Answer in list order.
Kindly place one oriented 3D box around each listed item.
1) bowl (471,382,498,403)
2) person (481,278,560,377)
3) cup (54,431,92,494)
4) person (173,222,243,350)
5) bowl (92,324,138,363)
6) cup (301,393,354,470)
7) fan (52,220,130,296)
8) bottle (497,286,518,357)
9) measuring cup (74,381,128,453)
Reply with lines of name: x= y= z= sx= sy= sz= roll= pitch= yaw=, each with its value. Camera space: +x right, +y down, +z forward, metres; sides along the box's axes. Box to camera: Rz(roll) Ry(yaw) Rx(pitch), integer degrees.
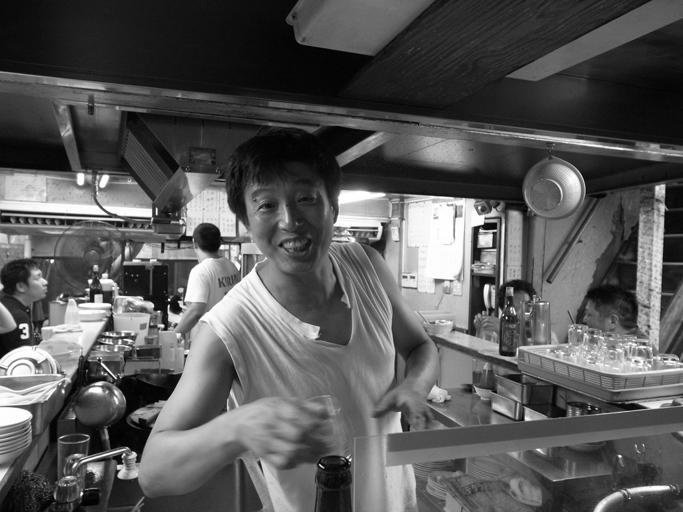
bowl: x=0.781 y=0.750 z=3.127 sx=0.132 sy=0.072 sz=0.174 roll=4 pitch=0 yaw=4
person: x=1.204 y=0.393 z=4.254 sx=0.464 sy=0.881 sz=0.523 roll=5 pitch=2 yaw=-15
cup: x=-1.056 y=0.804 z=2.264 sx=0.109 sy=0.223 sz=0.161 roll=2 pitch=3 yaw=-14
person: x=-1.056 y=0.182 z=4.493 sx=0.460 sy=1.254 sz=0.521 roll=6 pitch=0 yaw=-24
bowl: x=-1.546 y=0.604 z=3.962 sx=0.214 sy=0.110 sz=0.269 roll=4 pitch=-2 yaw=-4
cup: x=-0.035 y=0.430 z=1.401 sx=0.079 sy=0.139 sz=0.131 roll=3 pitch=2 yaw=-4
fan: x=-1.809 y=0.004 z=4.253 sx=0.233 sy=0.507 sz=0.538 roll=2 pitch=1 yaw=15
bottle: x=0.994 y=0.386 z=3.413 sx=0.112 sy=0.384 sz=0.221 roll=2 pitch=1 yaw=17
measuring cup: x=-1.057 y=0.671 z=2.519 sx=0.182 sy=0.325 sz=0.264 roll=2 pitch=4 yaw=-10
